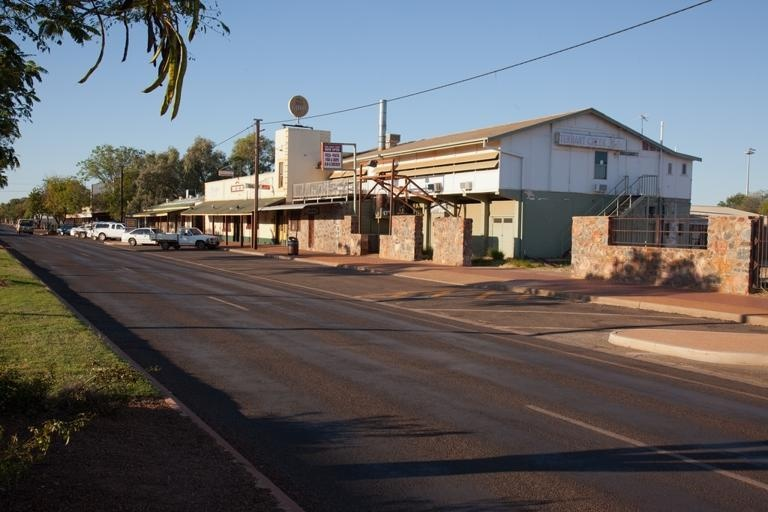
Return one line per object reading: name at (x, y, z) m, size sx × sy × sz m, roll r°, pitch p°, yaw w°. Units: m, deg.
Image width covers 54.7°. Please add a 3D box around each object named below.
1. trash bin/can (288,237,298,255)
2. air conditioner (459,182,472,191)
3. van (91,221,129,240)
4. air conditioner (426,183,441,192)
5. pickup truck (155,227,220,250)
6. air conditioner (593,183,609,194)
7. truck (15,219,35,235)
trash bin/can at (-5.603, -0.586, 45.505) m, size 0.458 × 0.930 × 0.955 m, roll -1°, pitch 10°, yaw -18°
air conditioner at (4.764, -4.077, 43.784) m, size 0.258 × 0.537 × 1.032 m, roll -2°, pitch 10°, yaw -24°
van at (-24.972, -2.261, 66.919) m, size 3.972 × 1.661 × 2.202 m, roll -2°, pitch 3°, yaw 4°
air conditioner at (3.147, -4.245, 46.361) m, size 0.267 × 0.611 × 1.368 m, roll -3°, pitch 11°, yaw -29°
pickup truck at (-14.033, -1.141, 53.351) m, size 3.933 × 1.453 × 1.920 m, roll -2°, pitch 3°, yaw -14°
air conditioner at (13.026, -4.067, 45.031) m, size 1.206 × 0.637 × 0.342 m, roll -7°, pitch 13°, yaw -44°
truck at (-44.310, -3.201, 92.208) m, size 2.506 × 2.183 × 4.650 m, roll 0°, pitch 4°, yaw -29°
